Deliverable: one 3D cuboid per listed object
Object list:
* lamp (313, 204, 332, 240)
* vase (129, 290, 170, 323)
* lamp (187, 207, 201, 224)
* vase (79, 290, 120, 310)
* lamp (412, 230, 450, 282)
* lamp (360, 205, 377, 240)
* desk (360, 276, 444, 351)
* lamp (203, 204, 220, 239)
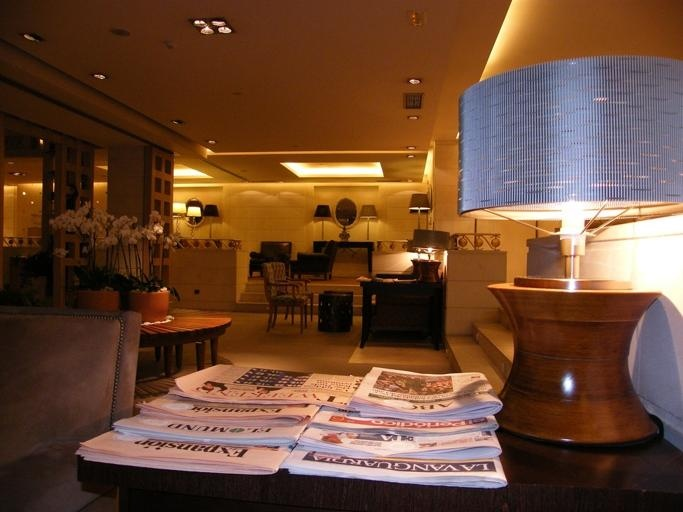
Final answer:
[{"bbox_3d":[-0.429,-0.830,12.669,0.433,0.849,0.587,-1,1,-3],"label":"lamp"},{"bbox_3d":[-1.257,0.318,3.518,0.336,0.241,0.321,1,-3,-30],"label":"vase"},{"bbox_3d":[-3.498,-1.013,13.041,0.420,0.547,0.395,-2,14,-12],"label":"lamp"},{"bbox_3d":[-1.474,0.264,3.266,0.185,0.103,0.181,4,-4,-44],"label":"vase"},{"bbox_3d":[1.024,-0.003,6.264,0.375,0.562,1.626,-1,1,8],"label":"lamp"},{"bbox_3d":[0.636,-0.817,12.501,0.418,0.834,0.509,-1,1,6],"label":"lamp"},{"bbox_3d":[0.697,0.594,6.184,1.059,0.711,0.791,1,4,5],"label":"desk"},{"bbox_3d":[-3.101,-0.873,12.926,0.374,0.784,0.533,-2,1,-13],"label":"lamp"}]
